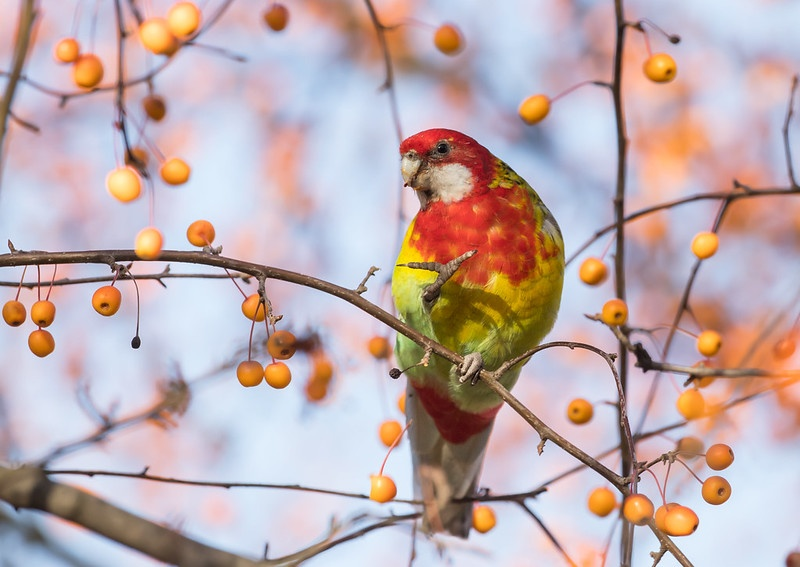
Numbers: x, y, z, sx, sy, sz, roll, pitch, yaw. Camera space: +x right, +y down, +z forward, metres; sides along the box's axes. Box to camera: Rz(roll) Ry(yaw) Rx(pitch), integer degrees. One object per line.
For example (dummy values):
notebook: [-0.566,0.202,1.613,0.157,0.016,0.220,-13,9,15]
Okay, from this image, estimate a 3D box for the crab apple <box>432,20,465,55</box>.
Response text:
crab apple: [0.256,-1.290,6.920,0.172,0.153,0.153,22,-76,-5]

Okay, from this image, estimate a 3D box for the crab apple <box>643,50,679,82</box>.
crab apple: [1.334,-1.113,6.807,0.144,0.201,0.158,-31,-80,-7]

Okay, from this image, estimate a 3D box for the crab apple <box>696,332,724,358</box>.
crab apple: [1.619,0.312,6.817,0.112,0.123,0.158,1,-88,10]

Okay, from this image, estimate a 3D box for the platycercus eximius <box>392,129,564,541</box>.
platycercus eximius: [0.407,0.326,7.558,0.823,1.424,2.579,-1,-74,5]

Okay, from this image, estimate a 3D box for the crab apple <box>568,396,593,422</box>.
crab apple: [0.990,0.703,7.252,0.118,0.139,0.121,-38,-113,-2]
